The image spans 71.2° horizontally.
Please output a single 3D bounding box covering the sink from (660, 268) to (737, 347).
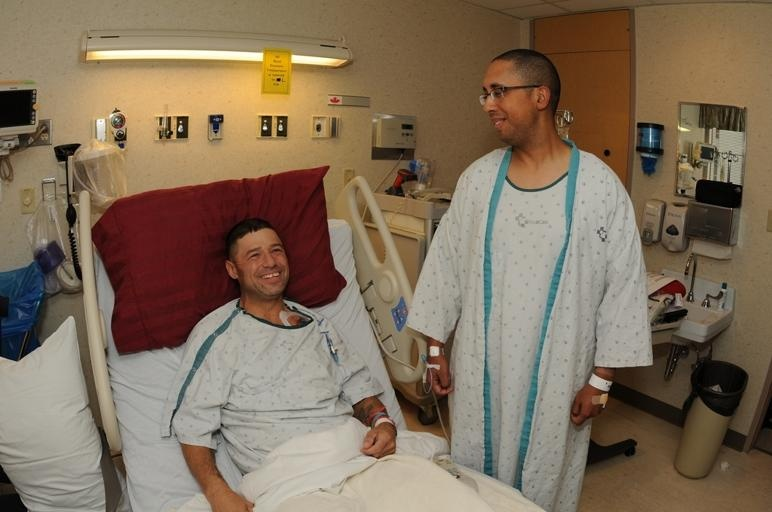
[{"bbox_3d":[1.963,0.355,3.401,0.391,0.268,0.407,-15,27,-29],"label":"sink"}]

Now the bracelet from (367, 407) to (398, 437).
[{"bbox_3d":[-0.018,0.733,2.404,0.080,0.042,0.100,-24,61,-29],"label":"bracelet"}]

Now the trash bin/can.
[{"bbox_3d":[1.998,0.999,3.327,0.303,0.597,0.520,8,17,36],"label":"trash bin/can"}]

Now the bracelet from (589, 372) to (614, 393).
[{"bbox_3d":[0.932,0.549,2.336,0.078,0.042,0.082,20,-4,32],"label":"bracelet"}]

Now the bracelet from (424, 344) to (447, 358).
[{"bbox_3d":[0.237,0.450,2.553,0.070,0.057,0.027,4,-5,9],"label":"bracelet"}]

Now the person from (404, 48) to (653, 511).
[{"bbox_3d":[0.628,0.161,2.381,1.011,2.063,0.470,-1,13,2],"label":"person"}]

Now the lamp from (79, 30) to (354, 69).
[{"bbox_3d":[-0.924,-1.190,3.049,1.389,0.152,0.132,-9,15,-27],"label":"lamp"}]
